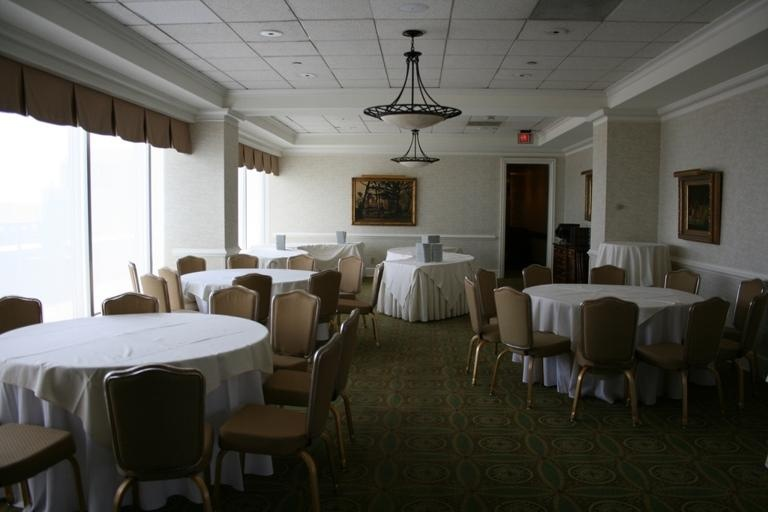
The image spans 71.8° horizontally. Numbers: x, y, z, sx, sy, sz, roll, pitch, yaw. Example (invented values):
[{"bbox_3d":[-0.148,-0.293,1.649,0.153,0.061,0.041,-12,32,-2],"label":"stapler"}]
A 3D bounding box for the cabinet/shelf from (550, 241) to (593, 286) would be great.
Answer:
[{"bbox_3d":[3.893,0.135,10.991,0.331,0.743,0.820,-4,17,-3],"label":"cabinet/shelf"}]

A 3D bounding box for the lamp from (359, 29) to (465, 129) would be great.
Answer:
[{"bbox_3d":[0.365,-2.203,6.600,1.283,1.093,1.266,10,21,35],"label":"lamp"}]

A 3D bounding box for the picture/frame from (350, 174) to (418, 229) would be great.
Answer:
[{"bbox_3d":[0.044,-1.492,13.930,1.528,1.125,0.113,1,11,3],"label":"picture/frame"}]

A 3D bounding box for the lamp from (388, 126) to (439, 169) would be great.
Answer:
[{"bbox_3d":[0.691,-2.505,11.722,1.115,1.099,1.128,1,10,6],"label":"lamp"}]
